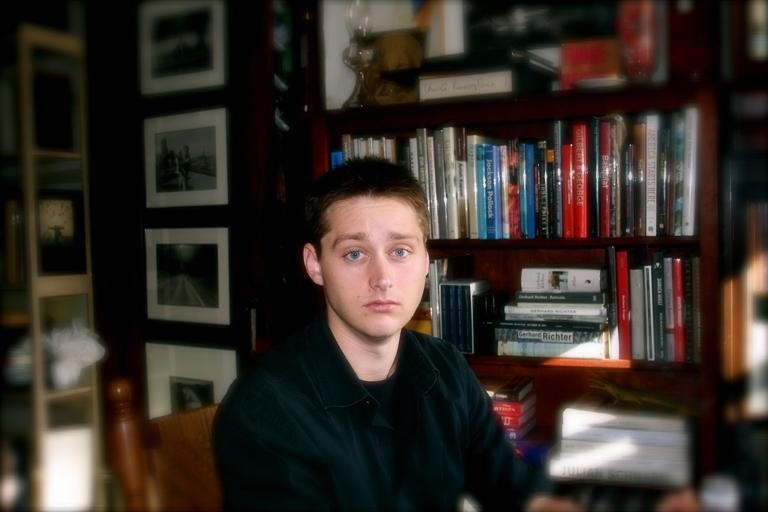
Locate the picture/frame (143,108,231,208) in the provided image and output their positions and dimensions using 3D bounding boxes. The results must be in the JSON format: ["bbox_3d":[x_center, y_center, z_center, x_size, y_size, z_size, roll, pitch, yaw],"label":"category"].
[{"bbox_3d":[-0.707,-0.368,2.538,0.377,0.348,0.038,-1,12,11],"label":"picture/frame"}]

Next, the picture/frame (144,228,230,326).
[{"bbox_3d":[-0.716,0.075,2.578,0.374,0.368,0.025,0,3,12],"label":"picture/frame"}]
